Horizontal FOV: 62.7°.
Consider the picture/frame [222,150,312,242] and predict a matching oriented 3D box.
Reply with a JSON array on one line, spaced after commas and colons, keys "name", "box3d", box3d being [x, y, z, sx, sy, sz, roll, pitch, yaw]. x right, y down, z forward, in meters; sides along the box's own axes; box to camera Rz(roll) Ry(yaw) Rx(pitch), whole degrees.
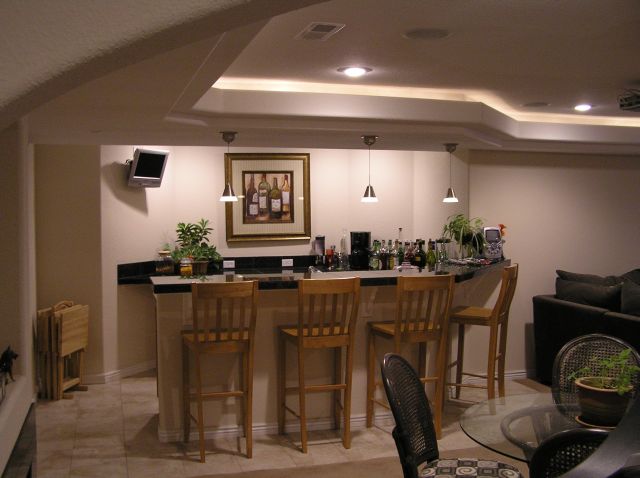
[{"name": "picture/frame", "box3d": [-0.706, -0.573, 6.573, 1.096, 1.162, 0.081, 0, -1, -12]}]

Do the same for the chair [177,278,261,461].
[{"name": "chair", "box3d": [-0.758, 0.956, 4.008, 0.569, 1.350, 0.672, -1, 3, -16]}]

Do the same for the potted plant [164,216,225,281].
[{"name": "potted plant", "box3d": [-1.451, 0.143, 6.253, 0.701, 0.760, 0.599, 1, -5, -12]}]

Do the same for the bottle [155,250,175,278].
[{"name": "bottle", "box3d": [-1.782, 0.281, 6.076, 0.239, 0.348, 0.242, 0, 5, 0]}]

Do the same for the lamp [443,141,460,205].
[{"name": "lamp", "box3d": [1.444, -0.708, 5.767, 0.161, 0.597, 0.886, 1, 3, 14]}]

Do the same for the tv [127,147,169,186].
[{"name": "tv", "box3d": [-1.945, -0.826, 5.906, 0.218, 0.422, 0.412, 30, 19, 39]}]

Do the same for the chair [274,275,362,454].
[{"name": "chair", "box3d": [0.018, 0.943, 4.186, 0.690, 1.351, 0.690, 0, 3, -9]}]

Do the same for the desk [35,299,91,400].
[{"name": "desk", "box3d": [-2.561, 1.098, 5.276, 0.368, 0.933, 0.569, 0, 3, 5]}]
